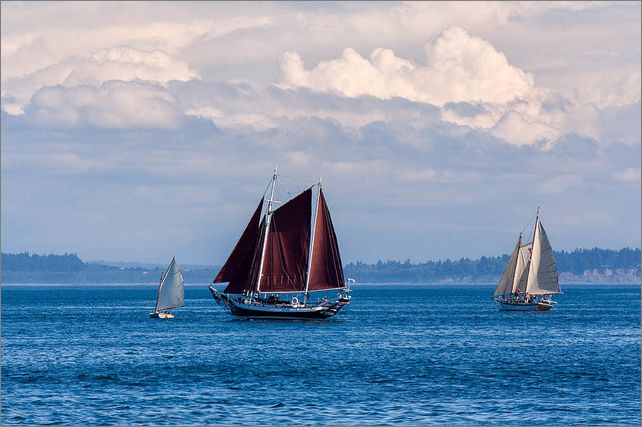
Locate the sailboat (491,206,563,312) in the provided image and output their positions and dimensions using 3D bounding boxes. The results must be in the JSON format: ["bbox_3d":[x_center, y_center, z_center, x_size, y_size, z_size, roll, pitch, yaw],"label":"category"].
[{"bbox_3d":[37.589,9.763,236.790,10.069,15.943,14.838,-1,-1,-2],"label":"sailboat"}]
